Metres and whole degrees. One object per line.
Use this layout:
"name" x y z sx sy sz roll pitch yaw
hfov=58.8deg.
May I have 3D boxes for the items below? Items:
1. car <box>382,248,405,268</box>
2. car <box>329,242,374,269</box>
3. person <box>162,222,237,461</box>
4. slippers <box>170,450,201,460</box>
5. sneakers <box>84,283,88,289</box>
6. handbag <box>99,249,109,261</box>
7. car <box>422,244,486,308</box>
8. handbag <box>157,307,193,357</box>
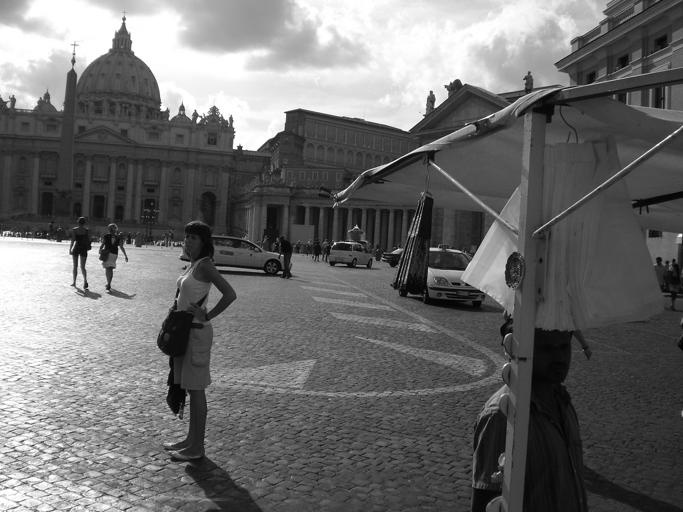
"car" 3.903 0.382 46.030 1.517 0.980 3.223 2 11 11
"car" 0.704 0.072 42.626 1.884 1.662 3.125 4 2 34
"person" -1.240 0.688 5.343 0.539 1.914 0.687 2 2 -15
"slippers" -1.289 1.629 5.066 0.183 0.052 0.096 8 -3 -9
"sneakers" -6.778 0.831 16.169 0.121 0.140 0.119 2 6 -16
"handbag" -6.249 0.036 16.079 0.230 0.302 0.160 6 16 -6
"car" 3.125 0.656 18.618 1.589 1.542 3.138 0 -4 -8
"handbag" -1.455 0.687 5.273 0.306 0.416 0.172 4 2 30
